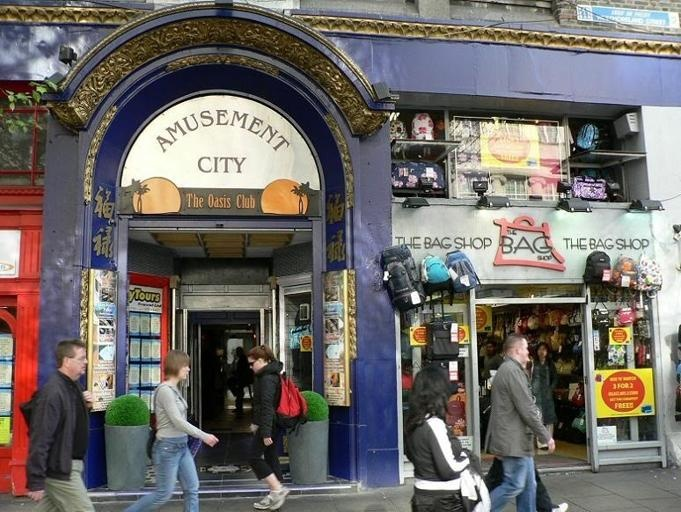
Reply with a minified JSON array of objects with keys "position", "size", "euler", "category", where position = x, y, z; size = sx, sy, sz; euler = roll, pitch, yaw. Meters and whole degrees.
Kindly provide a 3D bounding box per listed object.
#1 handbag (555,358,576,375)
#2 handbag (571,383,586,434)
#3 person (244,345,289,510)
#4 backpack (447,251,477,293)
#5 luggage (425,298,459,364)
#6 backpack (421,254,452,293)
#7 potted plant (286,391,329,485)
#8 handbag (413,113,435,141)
[{"position":[4.060,1.973,13.346],"size":[0.286,0.269,0.279],"euler":[5,7,34],"category":"handbag"},{"position":[4.101,2.626,12.792],"size":[0.217,0.849,0.788],"euler":[-5,-11,13],"category":"handbag"},{"position":[-1.030,2.377,10.258],"size":[0.620,1.962,0.740],"euler":[6,-1,-7],"category":"person"},{"position":[1.887,0.274,11.883],"size":[0.456,0.619,0.640],"euler":[-11,-5,0],"category":"backpack"},{"position":[1.196,1.321,11.944],"size":[0.707,1.363,0.618],"euler":[1,-9,-10],"category":"luggage"},{"position":[1.513,0.286,11.860],"size":[0.414,0.542,0.564],"euler":[0,-2,-5],"category":"backpack"},{"position":[-0.515,2.744,11.228],"size":[0.681,1.280,0.649],"euler":[4,-3,-15],"category":"potted plant"},{"position":[1.428,-2.235,12.943],"size":[0.394,0.513,0.514],"euler":[0,-4,-1],"category":"handbag"}]
